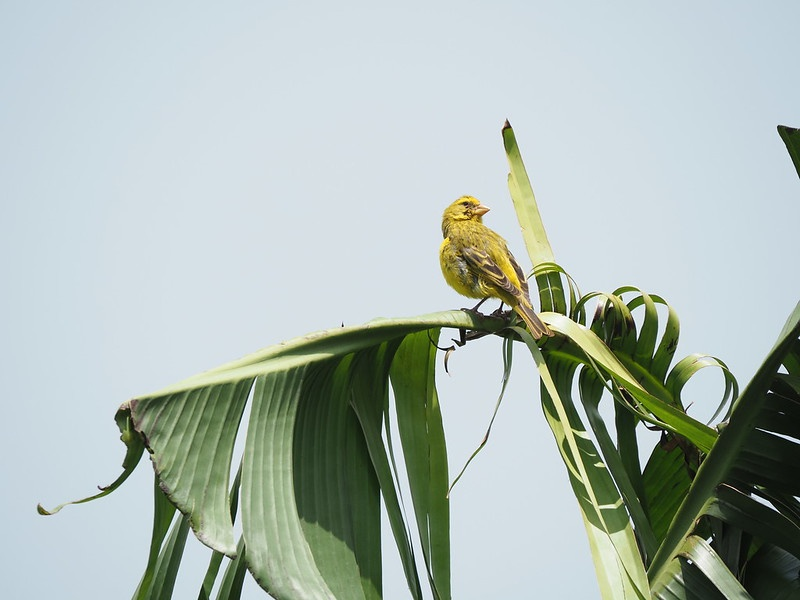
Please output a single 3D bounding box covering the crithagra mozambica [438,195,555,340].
[{"bbox_3d":[0.457,-0.153,5.452,0.267,0.832,0.607,13,-87,-36],"label":"crithagra mozambica"}]
